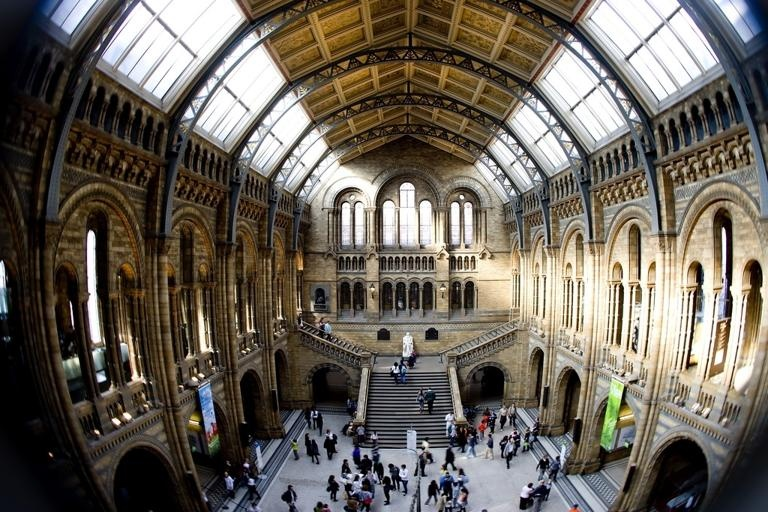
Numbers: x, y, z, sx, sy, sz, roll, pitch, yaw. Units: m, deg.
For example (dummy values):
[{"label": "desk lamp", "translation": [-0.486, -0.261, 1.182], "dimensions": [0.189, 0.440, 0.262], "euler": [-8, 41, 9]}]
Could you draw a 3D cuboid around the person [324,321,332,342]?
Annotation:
[{"label": "person", "translation": [-4.597, 5.977, 34.650], "dimensions": [0.614, 1.389, 1.707], "euler": [0, -5, -8]}]

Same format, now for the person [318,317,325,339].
[{"label": "person", "translation": [-5.091, 5.639, 34.852], "dimensions": [0.416, 1.349, 2.180], "euler": [0, -5, -9]}]
